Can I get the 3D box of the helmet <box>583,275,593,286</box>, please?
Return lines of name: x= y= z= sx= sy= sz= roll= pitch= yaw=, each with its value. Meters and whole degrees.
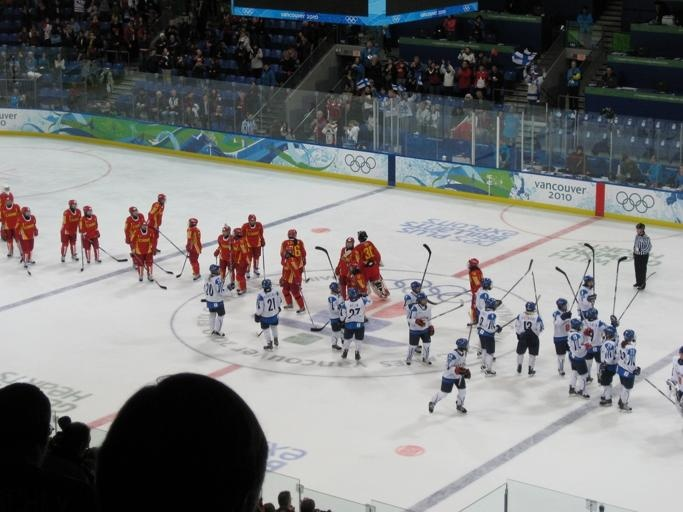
helmet: x=4.805 y=0.477 z=20.383 sx=0.151 sy=0.201 sz=0.225 roll=1 pitch=-1 yaw=32

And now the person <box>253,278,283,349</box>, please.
person: x=-1.460 y=1.151 z=20.705 sx=0.471 sy=1.485 sz=1.183 roll=1 pitch=6 yaw=-5

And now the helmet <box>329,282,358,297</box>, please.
helmet: x=0.018 y=0.725 z=20.436 sx=0.570 sy=0.205 sz=0.314 roll=7 pitch=7 yaw=9

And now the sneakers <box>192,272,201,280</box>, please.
sneakers: x=-3.487 y=0.475 z=25.023 sx=0.138 sy=0.169 sz=0.232 roll=1 pitch=6 yaw=-1

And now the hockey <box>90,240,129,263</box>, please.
hockey: x=-5.969 y=-0.098 z=26.755 sx=1.076 sy=0.120 sz=0.117 roll=27 pitch=48 yaw=6

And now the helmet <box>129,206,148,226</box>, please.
helmet: x=-4.847 y=-0.949 z=24.763 sx=0.365 sy=0.388 sz=0.344 roll=1 pitch=6 yaw=-1

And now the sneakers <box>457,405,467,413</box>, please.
sneakers: x=2.097 y=2.671 z=18.133 sx=0.087 sy=0.076 sz=0.192 roll=-8 pitch=12 yaw=-27

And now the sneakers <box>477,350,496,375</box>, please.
sneakers: x=2.747 y=2.034 z=19.705 sx=0.197 sy=0.506 sz=0.159 roll=-19 pitch=46 yaw=-11

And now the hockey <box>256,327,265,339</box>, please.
hockey: x=-1.678 y=1.605 z=21.502 sx=0.170 sy=0.245 sz=0.135 roll=6 pitch=48 yaw=-17

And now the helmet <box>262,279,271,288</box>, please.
helmet: x=-1.444 y=0.541 z=20.206 sx=0.150 sy=0.175 sz=0.332 roll=0 pitch=6 yaw=-7

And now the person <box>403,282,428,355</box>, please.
person: x=1.436 y=1.272 z=20.192 sx=0.488 sy=1.417 sz=0.541 roll=6 pitch=54 yaw=12

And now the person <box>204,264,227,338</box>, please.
person: x=-2.609 y=0.908 z=21.318 sx=0.403 sy=1.524 sz=1.020 roll=0 pitch=6 yaw=-7

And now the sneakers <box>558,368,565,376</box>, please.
sneakers: x=4.134 y=2.180 z=19.493 sx=0.070 sy=0.134 sz=0.158 roll=-6 pitch=9 yaw=-17

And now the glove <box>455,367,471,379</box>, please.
glove: x=2.076 y=1.996 z=17.700 sx=0.224 sy=0.094 sz=0.219 roll=21 pitch=22 yaw=23

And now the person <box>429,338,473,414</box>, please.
person: x=1.903 y=2.076 z=18.164 sx=0.646 sy=1.344 sz=1.156 roll=2 pitch=6 yaw=7

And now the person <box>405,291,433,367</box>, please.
person: x=1.510 y=1.380 z=20.018 sx=0.498 sy=1.437 sz=0.768 roll=2 pitch=6 yaw=4

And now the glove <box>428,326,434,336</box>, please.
glove: x=1.726 y=1.425 z=19.827 sx=0.067 sy=0.168 sz=0.126 roll=-3 pitch=-1 yaw=-17

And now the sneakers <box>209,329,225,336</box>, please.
sneakers: x=-2.580 y=1.593 z=21.568 sx=0.234 sy=0.085 sz=0.121 roll=1 pitch=12 yaw=10

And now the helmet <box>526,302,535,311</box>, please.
helmet: x=3.494 y=0.934 z=19.221 sx=0.162 sy=0.159 sz=0.187 roll=0 pitch=-6 yaw=13

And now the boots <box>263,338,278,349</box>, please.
boots: x=-1.406 y=1.734 z=20.927 sx=0.153 sy=0.260 sz=0.308 roll=-10 pitch=22 yaw=-26

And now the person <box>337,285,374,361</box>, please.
person: x=0.254 y=1.313 z=20.350 sx=0.494 sy=1.485 sz=1.299 roll=1 pitch=6 yaw=2

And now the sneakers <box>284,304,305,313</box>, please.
sneakers: x=-1.047 y=1.169 z=23.046 sx=0.167 sy=0.218 sz=0.546 roll=-8 pitch=4 yaw=-42
